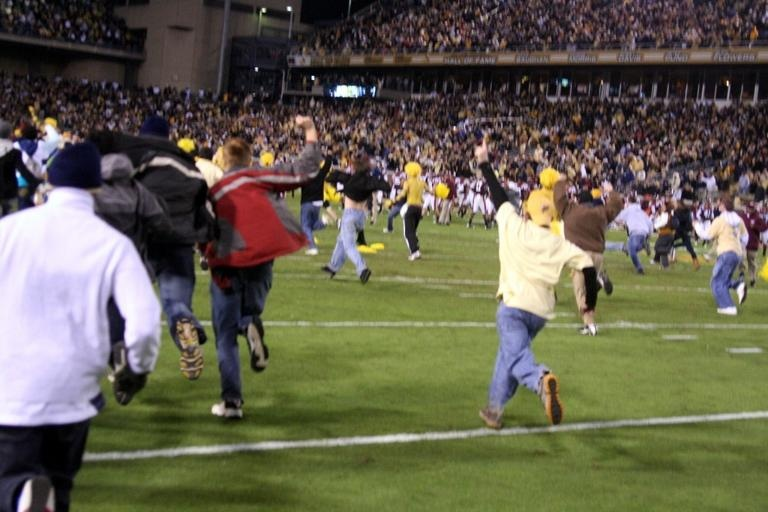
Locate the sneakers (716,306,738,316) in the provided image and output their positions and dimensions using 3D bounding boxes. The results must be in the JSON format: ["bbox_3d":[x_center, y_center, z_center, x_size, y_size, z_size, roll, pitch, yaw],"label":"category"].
[{"bbox_3d":[5.777,0.934,14.733,0.219,0.132,0.174,1,2,24],"label":"sneakers"}]

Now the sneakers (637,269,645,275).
[{"bbox_3d":[5.685,0.359,19.376,0.146,0.123,0.121,-3,7,-17],"label":"sneakers"}]

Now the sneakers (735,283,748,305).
[{"bbox_3d":[6.344,0.689,15.553,0.159,0.394,0.135,13,42,36],"label":"sneakers"}]

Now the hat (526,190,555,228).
[{"bbox_3d":[1.474,-0.458,8.238,0.235,0.330,0.397,5,10,9],"label":"hat"}]

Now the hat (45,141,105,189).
[{"bbox_3d":[-1.974,-0.581,5.625,0.334,0.252,0.239,2,-1,28],"label":"hat"}]

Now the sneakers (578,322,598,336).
[{"bbox_3d":[2.822,1.018,12.054,0.112,0.147,0.319,0,-10,3],"label":"sneakers"}]

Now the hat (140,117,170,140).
[{"bbox_3d":[-2.159,-1.214,8.211,0.276,0.208,0.306,2,10,-7],"label":"hat"}]

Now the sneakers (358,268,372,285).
[{"bbox_3d":[-0.316,0.351,14.541,0.142,0.130,0.345,10,-16,2],"label":"sneakers"}]

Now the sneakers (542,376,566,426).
[{"bbox_3d":[1.446,1.257,7.611,0.158,0.459,0.217,-7,-13,-9],"label":"sneakers"}]

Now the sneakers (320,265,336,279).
[{"bbox_3d":[-0.944,0.279,15.039,0.159,0.111,0.279,32,-8,6],"label":"sneakers"}]

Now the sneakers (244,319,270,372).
[{"bbox_3d":[-1.130,0.818,8.054,0.179,0.516,0.224,-4,-3,-28],"label":"sneakers"}]

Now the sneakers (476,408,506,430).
[{"bbox_3d":[1.021,1.506,8.299,0.223,0.197,0.268,5,10,9],"label":"sneakers"}]

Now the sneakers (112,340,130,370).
[{"bbox_3d":[-1.723,0.655,5.726,0.072,0.217,0.151,6,2,-35],"label":"sneakers"}]

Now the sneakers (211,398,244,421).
[{"bbox_3d":[-1.438,1.391,8.079,0.298,0.189,0.190,2,10,-11],"label":"sneakers"}]
